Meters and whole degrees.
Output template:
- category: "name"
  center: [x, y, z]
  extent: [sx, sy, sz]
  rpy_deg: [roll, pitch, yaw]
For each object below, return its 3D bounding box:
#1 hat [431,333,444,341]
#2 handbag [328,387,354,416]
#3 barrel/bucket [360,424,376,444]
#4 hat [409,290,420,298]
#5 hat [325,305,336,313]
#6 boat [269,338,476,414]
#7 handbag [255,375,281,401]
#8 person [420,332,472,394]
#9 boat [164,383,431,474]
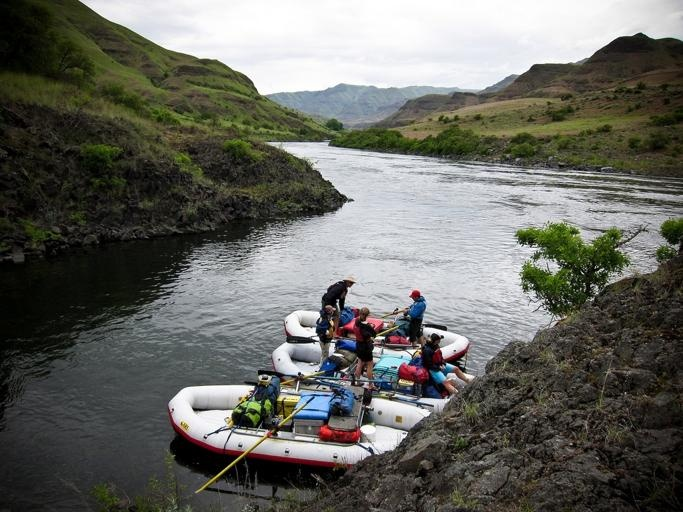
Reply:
- category: "hat"
  center: [3.689, 3.196, 20.036]
  extent: [0.413, 0.365, 0.501]
  rpy_deg: [0, 16, 2]
- category: "handbag"
  center: [0.038, 5.534, 19.283]
  extent: [0.773, 0.429, 1.053]
  rpy_deg: [1, 13, 7]
- category: "barrel/bucket"
  center: [1.035, 6.641, 18.931]
  extent: [0.678, 0.365, 0.579]
  rpy_deg: [2, 0, -18]
- category: "hat"
  center: [3.257, 1.752, 23.387]
  extent: [0.587, 0.247, 0.423]
  rpy_deg: [9, 14, 33]
- category: "hat"
  center: [-0.514, 2.301, 22.060]
  extent: [0.372, 0.151, 0.501]
  rpy_deg: [9, 3, 21]
- category: "boat"
  center: [0.660, 5.095, 21.961]
  extent: [7.562, 0.911, 3.289]
  rpy_deg: [6, 21, 14]
- category: "handbag"
  center: [-2.882, 5.208, 20.127]
  extent: [0.964, 0.977, 1.098]
  rpy_deg: [7, -22, 7]
- category: "person"
  center: [4.035, 4.324, 20.583]
  extent: [1.654, 2.841, 1.003]
  rpy_deg: [1, 20, 5]
- category: "boat"
  center: [-2.324, 6.705, 19.044]
  extent: [9.135, 0.964, 3.415]
  rpy_deg: [1, 19, 8]
